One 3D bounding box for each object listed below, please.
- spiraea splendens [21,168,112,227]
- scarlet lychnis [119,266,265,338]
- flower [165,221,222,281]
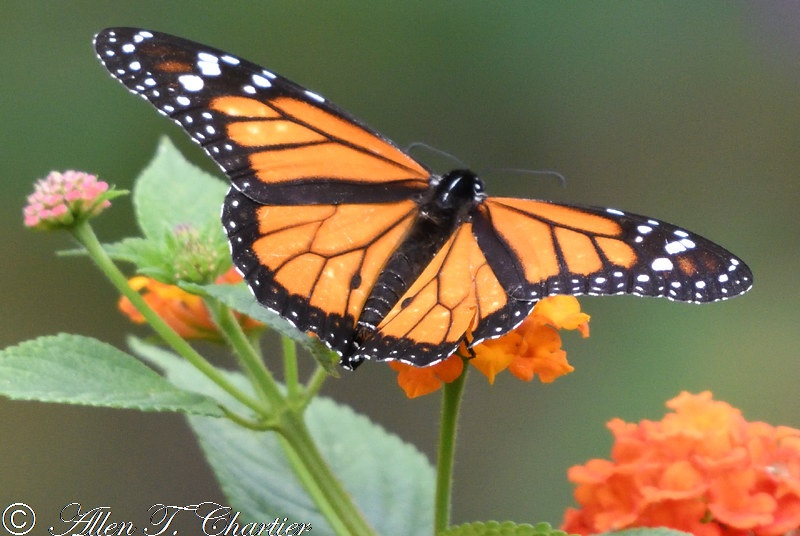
[{"bbox_3d":[-0.725,-0.151,1.945,0.170,0.137,0.103,16,-36,-14],"label":"spiraea splendens"},{"bbox_3d":[-0.572,0.079,2.251,0.229,0.119,0.237,13,3,17],"label":"scarlet lychnis"},{"bbox_3d":[-0.477,-0.058,2.098,0.143,0.141,0.124,8,-70,38],"label":"flower"}]
